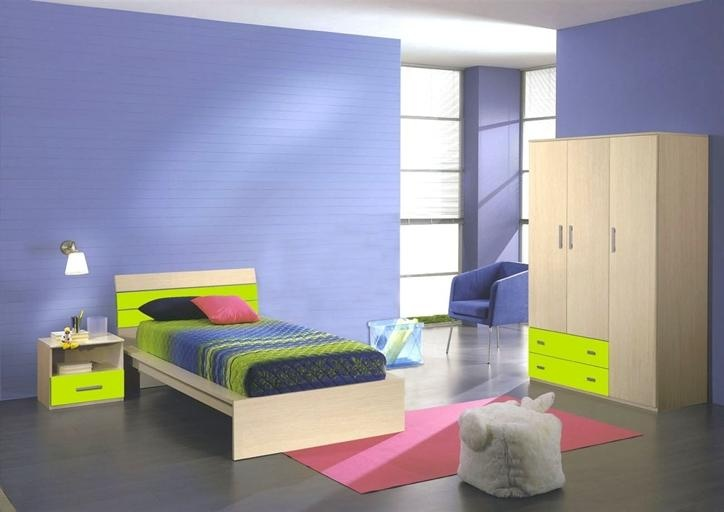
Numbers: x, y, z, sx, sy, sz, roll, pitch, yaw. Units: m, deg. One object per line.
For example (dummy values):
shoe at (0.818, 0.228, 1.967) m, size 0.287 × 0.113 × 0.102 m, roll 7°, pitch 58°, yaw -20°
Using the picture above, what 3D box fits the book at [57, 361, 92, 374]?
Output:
book at (-2.629, 1.022, 4.818) m, size 0.288 × 0.078 × 0.318 m, roll -1°, pitch 3°, yaw -28°

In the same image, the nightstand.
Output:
nightstand at (-2.644, 0.919, 5.005) m, size 0.937 × 0.696 × 0.686 m, roll 1°, pitch -3°, yaw -30°

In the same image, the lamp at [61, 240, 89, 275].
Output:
lamp at (-2.665, 0.022, 4.957) m, size 0.270 × 0.401 × 0.384 m, roll 2°, pitch -14°, yaw -27°

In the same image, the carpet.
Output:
carpet at (0.310, 1.549, 4.081) m, size 2.007 × 0.077 × 2.810 m, roll 8°, pitch -20°, yaw -44°

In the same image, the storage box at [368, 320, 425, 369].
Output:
storage box at (0.383, 0.987, 6.379) m, size 0.708 × 0.606 × 0.521 m, roll 0°, pitch -2°, yaw -17°

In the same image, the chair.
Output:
chair at (1.728, 0.665, 6.918) m, size 0.989 × 1.074 × 0.944 m, roll -2°, pitch 5°, yaw -24°

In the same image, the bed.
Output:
bed at (-1.083, 0.691, 4.671) m, size 1.484 × 1.057 × 2.206 m, roll -2°, pitch 3°, yaw -30°

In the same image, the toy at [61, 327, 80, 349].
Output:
toy at (-2.684, 0.768, 4.834) m, size 0.128 × 0.199 × 0.334 m, roll -2°, pitch 3°, yaw -29°
